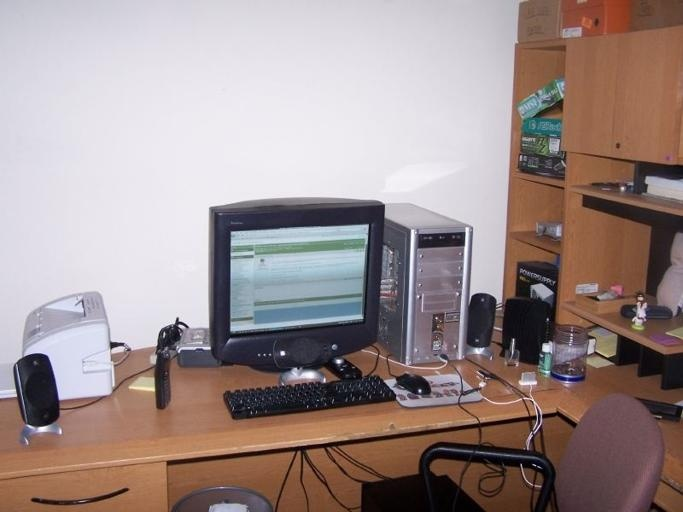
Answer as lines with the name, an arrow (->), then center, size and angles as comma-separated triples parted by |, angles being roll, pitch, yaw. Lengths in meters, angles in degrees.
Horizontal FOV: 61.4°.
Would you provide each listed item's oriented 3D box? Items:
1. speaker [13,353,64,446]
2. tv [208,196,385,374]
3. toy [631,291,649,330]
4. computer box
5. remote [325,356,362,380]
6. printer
speaker -> -0.966, 0.456, 1.832 | 0.179, 0.257, 0.069 | 2, -24, -44
tv -> -0.180, 0.089, 2.107 | 0.636, 0.667, 0.181 | -4, 15, -30
toy -> 1.156, 0.207, 2.223 | 0.055, 0.131, 0.146 | -1, 8, 27
computer box -> 0.302, 0.132, 2.404 | 0.299, 0.500, 0.488 | -1, 4, -18
remote -> 0.012, 0.418, 2.172 | 0.060, 0.042, 0.127 | -5, 11, -21
printer -> -0.924, 0.298, 2.049 | 0.319, 0.278, 0.418 | -2, 10, -21
